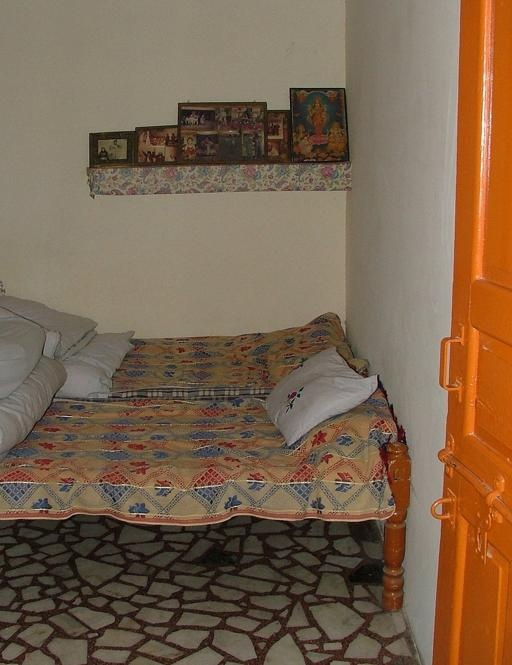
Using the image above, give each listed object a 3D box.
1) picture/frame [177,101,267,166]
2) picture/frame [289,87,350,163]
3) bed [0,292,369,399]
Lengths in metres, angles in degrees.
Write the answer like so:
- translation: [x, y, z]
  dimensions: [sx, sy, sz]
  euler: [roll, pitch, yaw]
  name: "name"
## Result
- translation: [-0.227, -1.258, 3.898]
  dimensions: [0.461, 0.278, 0.018]
  euler: [0, -2, -2]
  name: "picture/frame"
- translation: [0.402, -1.311, 3.847]
  dimensions: [0.358, 0.471, 0.129]
  euler: [-1, 9, 1]
  name: "picture/frame"
- translation: [-0.301, 0.192, 3.441]
  dimensions: [1.511, 0.322, 0.857]
  euler: [-3, 24, 0]
  name: "bed"
